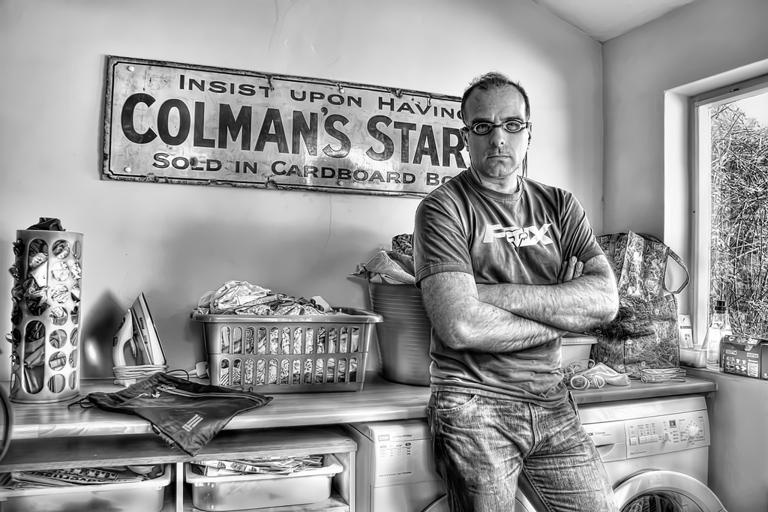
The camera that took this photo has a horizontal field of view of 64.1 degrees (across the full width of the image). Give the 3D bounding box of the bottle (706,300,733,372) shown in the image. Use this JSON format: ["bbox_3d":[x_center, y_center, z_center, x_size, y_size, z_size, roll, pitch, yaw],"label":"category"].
[{"bbox_3d":[1.729,0.399,3.182,0.105,0.342,0.186,-1,-1,40],"label":"bottle"}]

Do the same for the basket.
[{"bbox_3d":[-0.431,0.426,2.693,0.608,0.282,0.425,2,-9,-18],"label":"basket"}]

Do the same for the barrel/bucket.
[{"bbox_3d":[0.134,0.361,3.089,0.474,0.499,0.467,0,-3,0],"label":"barrel/bucket"}]
